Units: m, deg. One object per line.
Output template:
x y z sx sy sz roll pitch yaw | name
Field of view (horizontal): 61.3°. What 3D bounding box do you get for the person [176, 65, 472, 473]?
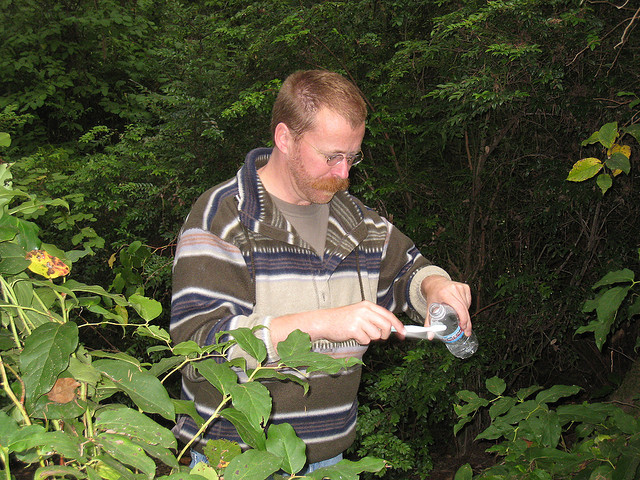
0.019 0.150 2.365 1.113 1.818 1.011 1 9 13 | person
